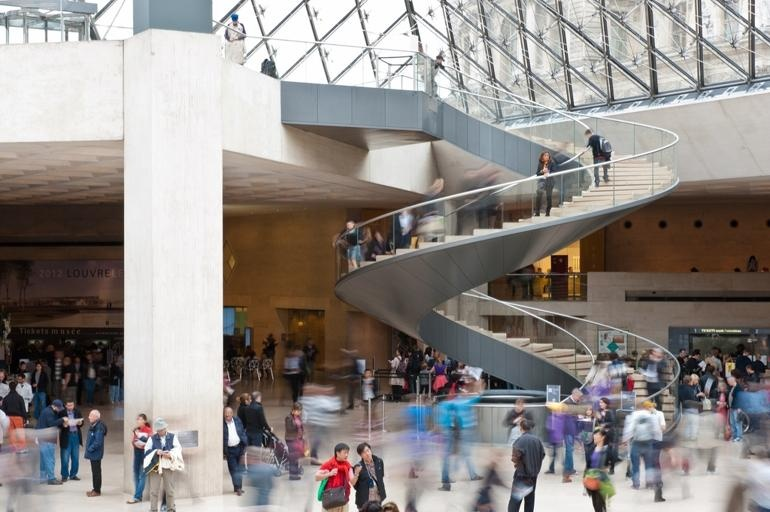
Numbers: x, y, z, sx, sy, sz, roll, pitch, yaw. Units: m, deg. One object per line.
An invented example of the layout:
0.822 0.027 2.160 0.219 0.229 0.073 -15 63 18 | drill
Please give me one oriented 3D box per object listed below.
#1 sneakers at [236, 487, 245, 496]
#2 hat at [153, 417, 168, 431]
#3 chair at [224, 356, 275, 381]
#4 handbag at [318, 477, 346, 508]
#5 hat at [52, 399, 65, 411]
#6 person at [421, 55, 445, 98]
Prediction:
-3.545 5.680 24.628 0.153 0.173 0.406 2 -10 -14 | sneakers
-5.218 3.842 23.472 0.378 0.187 0.408 -3 8 -8 | hat
-5.102 4.084 38.401 1.158 0.613 1.449 1 -8 1 | chair
-1.116 4.905 21.262 0.518 0.701 0.273 -11 -43 6 | handbag
-8.039 3.624 24.968 0.252 0.181 0.351 19 18 4 | hat
1.278 -5.137 28.874 0.985 1.210 1.234 -1 7 -4 | person
